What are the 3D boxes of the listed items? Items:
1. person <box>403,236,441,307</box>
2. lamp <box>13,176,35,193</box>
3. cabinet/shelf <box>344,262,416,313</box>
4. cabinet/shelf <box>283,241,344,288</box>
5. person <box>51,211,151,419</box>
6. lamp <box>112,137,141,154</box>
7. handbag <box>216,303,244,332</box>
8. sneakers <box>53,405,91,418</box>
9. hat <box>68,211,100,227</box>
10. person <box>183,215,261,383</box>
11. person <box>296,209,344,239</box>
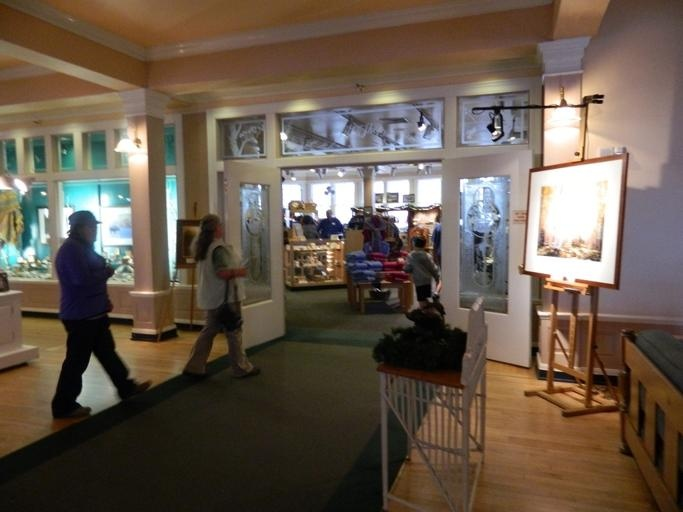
[{"bbox_3d":[1.112,0.228,7.042,0.470,1.003,0.575,1,7,10],"label":"person"},{"bbox_3d":[-4.123,-0.921,6.607,0.217,0.197,0.884,-5,9,-31],"label":"lamp"},{"bbox_3d":[0.748,0.554,9.268,0.974,0.598,0.985,0,3,-1],"label":"cabinet/shelf"},{"bbox_3d":[-0.624,0.132,11.336,1.259,0.928,0.710,-1,4,-10],"label":"cabinet/shelf"},{"bbox_3d":[-2.557,0.574,5.124,0.740,2.023,0.272,-5,8,-31],"label":"person"},{"bbox_3d":[-3.031,-1.533,7.151,0.399,0.135,0.426,1,9,4],"label":"lamp"},{"bbox_3d":[-1.269,0.675,5.683,0.251,0.177,0.344,11,41,-14],"label":"handbag"},{"bbox_3d":[-2.666,1.560,5.084,0.359,0.149,0.130,-1,3,-14],"label":"sneakers"},{"bbox_3d":[-2.591,-0.373,5.134,0.230,0.102,0.160,-6,8,-37],"label":"hat"},{"bbox_3d":[-1.390,0.468,5.811,0.742,1.856,0.458,2,8,18],"label":"person"},{"bbox_3d":[-0.578,-0.750,12.284,1.132,0.435,0.321,-5,1,-32],"label":"person"}]
